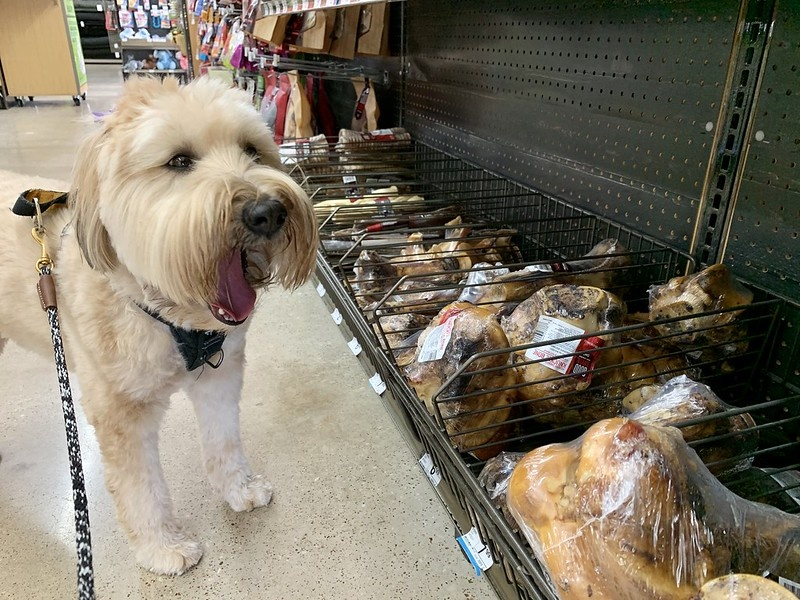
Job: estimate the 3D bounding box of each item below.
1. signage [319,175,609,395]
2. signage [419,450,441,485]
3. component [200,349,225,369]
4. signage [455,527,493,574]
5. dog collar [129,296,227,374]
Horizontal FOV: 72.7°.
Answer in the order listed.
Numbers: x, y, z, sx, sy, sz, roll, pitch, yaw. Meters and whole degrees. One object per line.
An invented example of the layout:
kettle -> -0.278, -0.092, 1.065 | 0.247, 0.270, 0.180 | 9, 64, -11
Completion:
signage -> 0.197, -0.050, 1.864 | 0.623, 0.346, 1.279 | -17, 28, -7
signage -> 0.069, 0.387, 1.258 | 0.015, 0.069, 0.106 | -9, 28, -19
component -> -0.536, 0.172, 1.569 | 0.061, 0.017, 0.050 | -20, 59, 26
signage -> 0.154, 0.520, 1.087 | 0.028, 0.092, 0.084 | -23, 29, -25
dog collar -> -0.587, 0.064, 1.454 | 0.199, 0.086, 0.156 | 39, 17, 9
